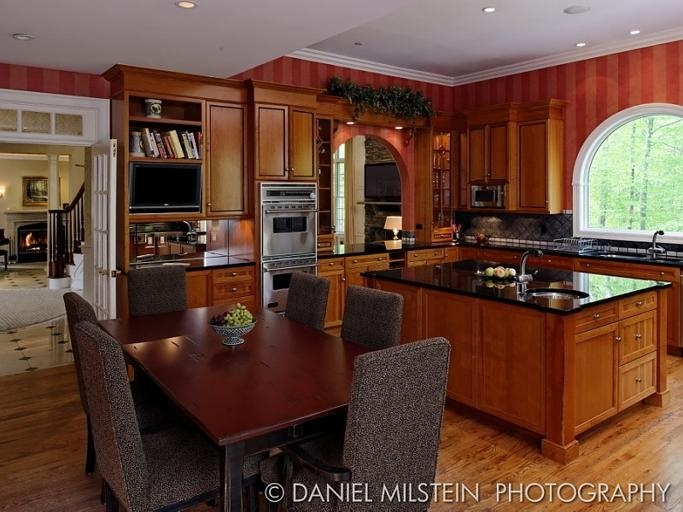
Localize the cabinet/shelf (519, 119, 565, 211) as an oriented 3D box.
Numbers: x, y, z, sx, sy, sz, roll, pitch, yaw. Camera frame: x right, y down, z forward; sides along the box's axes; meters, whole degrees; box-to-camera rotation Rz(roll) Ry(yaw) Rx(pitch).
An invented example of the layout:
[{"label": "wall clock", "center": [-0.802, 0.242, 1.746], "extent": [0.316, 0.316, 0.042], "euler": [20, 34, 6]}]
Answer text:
[{"label": "cabinet/shelf", "center": [2.793, -1.246, 7.010], "extent": [0.647, 1.256, 0.407], "euler": [3, 12, 18]}]

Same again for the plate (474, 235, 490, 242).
[{"label": "plate", "center": [2.203, -0.283, 7.833], "extent": [0.199, 0.125, 0.345], "euler": [3, 11, 17]}]

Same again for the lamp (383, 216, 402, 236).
[{"label": "lamp", "center": [0.877, -0.507, 8.462], "extent": [0.346, 0.325, 0.356], "euler": [0, 3, -5]}]

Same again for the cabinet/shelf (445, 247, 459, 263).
[{"label": "cabinet/shelf", "center": [1.703, -0.048, 7.718], "extent": [0.338, 0.213, 0.080], "euler": [-8, 14, -38]}]

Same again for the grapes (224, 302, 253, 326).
[{"label": "grapes", "center": [-0.676, 0.384, 3.345], "extent": [0.131, 0.102, 0.184], "euler": [1, 5, -3]}]

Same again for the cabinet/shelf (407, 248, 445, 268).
[{"label": "cabinet/shelf", "center": [1.265, -0.002, 7.410], "extent": [0.812, 0.239, 0.081], "euler": [-8, 14, -38]}]

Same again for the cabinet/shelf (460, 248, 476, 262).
[{"label": "cabinet/shelf", "center": [1.924, -0.033, 7.731], "extent": [0.265, 0.251, 0.177], "euler": [3, 5, 41]}]

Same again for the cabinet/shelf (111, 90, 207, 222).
[{"label": "cabinet/shelf", "center": [-1.921, -1.158, 5.756], "extent": [0.863, 0.366, 1.161], "euler": [-7, -24, -13]}]

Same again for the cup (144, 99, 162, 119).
[{"label": "cup", "center": [-2.001, -1.549, 5.316], "extent": [0.159, 0.209, 0.181], "euler": [-4, 11, -18]}]

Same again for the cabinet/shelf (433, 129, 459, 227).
[{"label": "cabinet/shelf", "center": [1.604, -1.199, 7.906], "extent": [0.368, 1.468, 0.249], "euler": [-2, 11, -8]}]

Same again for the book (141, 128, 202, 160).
[{"label": "book", "center": [-1.852, -1.181, 5.432], "extent": [0.538, 0.354, 0.355], "euler": [-1, 3, -34]}]

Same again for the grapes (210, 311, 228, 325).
[{"label": "grapes", "center": [-0.808, 0.416, 3.356], "extent": [0.141, 0.067, 0.175], "euler": [-1, 1, -17]}]
